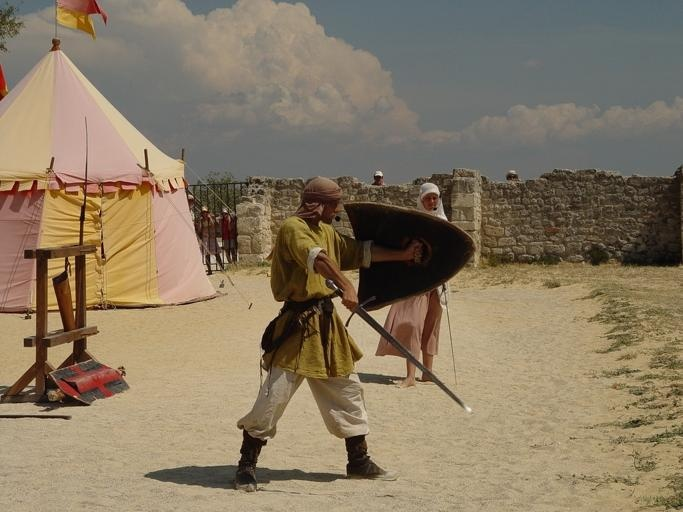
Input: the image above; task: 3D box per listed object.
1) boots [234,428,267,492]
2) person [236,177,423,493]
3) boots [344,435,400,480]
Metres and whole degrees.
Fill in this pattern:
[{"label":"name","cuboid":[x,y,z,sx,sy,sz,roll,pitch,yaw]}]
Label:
[{"label":"boots","cuboid":[-0.750,1.661,7.173,0.210,0.455,0.344,2,9,17]},{"label":"person","cuboid":[-0.230,0.622,7.225,1.315,2.485,0.691,-1,9,-3]},{"label":"boots","cuboid":[0.223,1.708,7.413,0.495,0.498,0.254,-1,-1,-7]}]
